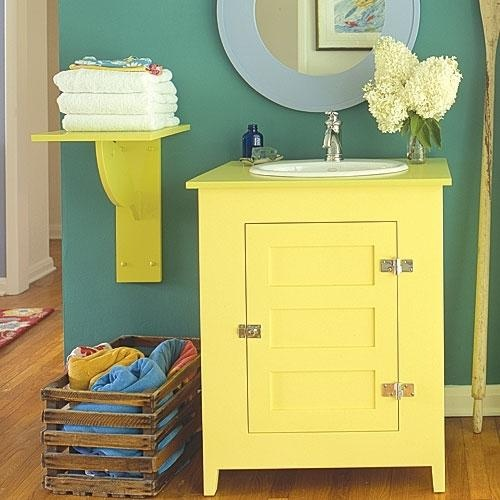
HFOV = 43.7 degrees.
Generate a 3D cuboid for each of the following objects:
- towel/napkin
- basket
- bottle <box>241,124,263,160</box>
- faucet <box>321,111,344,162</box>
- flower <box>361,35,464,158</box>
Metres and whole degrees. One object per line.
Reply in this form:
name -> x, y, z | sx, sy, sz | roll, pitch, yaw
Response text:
towel/napkin -> -0.402, -0.428, 1.824 | 0.269, 0.146, 0.314 | 0, 14, 1
basket -> -0.340, 0.488, 1.826 | 0.302, 0.230, 0.492 | -1, -2, 6
bottle -> 0.010, -0.345, 1.989 | 0.067, 0.105, 0.170 | 0, 10, 1
faucet -> 0.255, -0.346, 1.909 | 0.056, 0.150, 0.130 | 1, 11, 8
flower -> 0.441, -0.468, 1.929 | 0.347, 0.365, 0.318 | 2, 39, 11
